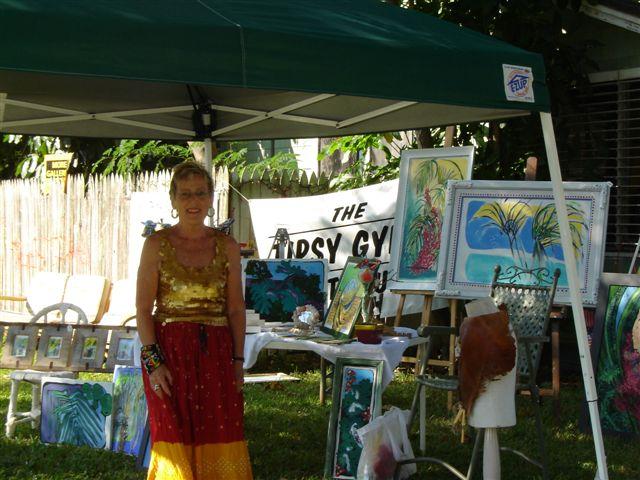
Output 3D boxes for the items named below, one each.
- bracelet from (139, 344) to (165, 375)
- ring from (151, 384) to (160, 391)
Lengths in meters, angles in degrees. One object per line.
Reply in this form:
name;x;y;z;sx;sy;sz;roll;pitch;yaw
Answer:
bracelet;-0.894;0.630;3.059;0.106;0.156;0.147;-7;-11;-9
ring;-0.863;0.777;3.029;0.030;0.035;0.011;2;-2;6
